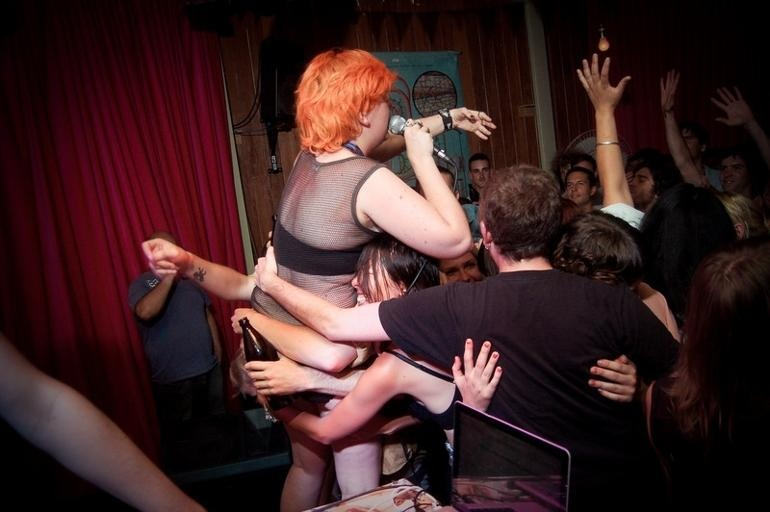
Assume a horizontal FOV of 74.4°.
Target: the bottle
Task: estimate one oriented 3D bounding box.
[{"bbox_3d":[-0.503,0.471,2.097,0.169,0.439,0.110,-4,13,24],"label":"bottle"}]
